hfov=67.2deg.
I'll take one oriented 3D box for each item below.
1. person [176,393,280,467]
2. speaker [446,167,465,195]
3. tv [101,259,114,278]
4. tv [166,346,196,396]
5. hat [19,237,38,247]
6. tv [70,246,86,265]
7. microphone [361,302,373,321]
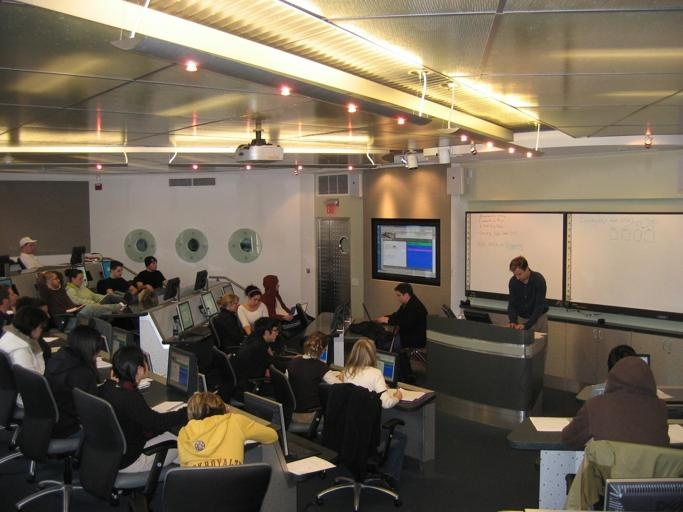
[{"bbox_3d":[-0.550,1.141,3.522,0.634,0.468,0.876,3,-12,2],"label":"person"},{"bbox_3d":[1.797,-1.202,8.111,0.300,0.433,0.188,5,12,17],"label":"speaker"},{"bbox_3d":[-4.604,0.272,10.116,0.270,0.439,0.046,21,-34,-39],"label":"tv"},{"bbox_3d":[-1.494,1.091,4.770,0.185,0.453,0.539,1,1,-43],"label":"tv"},{"bbox_3d":[-6.166,-0.270,10.098,0.338,0.123,0.225,-11,6,-12],"label":"hat"},{"bbox_3d":[-5.372,0.004,10.499,0.197,0.353,0.377,5,4,-3],"label":"tv"},{"bbox_3d":[0.483,1.039,9.586,0.059,0.071,0.360,7,22,-21],"label":"microphone"}]
